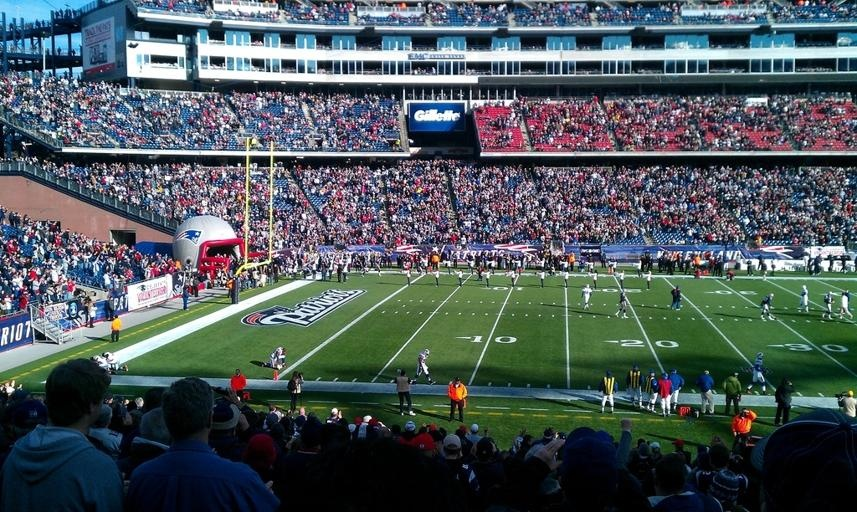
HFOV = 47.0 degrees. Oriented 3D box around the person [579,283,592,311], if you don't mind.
[{"bbox_3d":[12.464,2.857,73.703,0.871,1.914,0.639,10,-35,-1],"label":"person"}]
